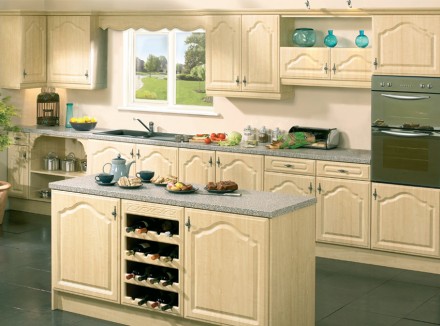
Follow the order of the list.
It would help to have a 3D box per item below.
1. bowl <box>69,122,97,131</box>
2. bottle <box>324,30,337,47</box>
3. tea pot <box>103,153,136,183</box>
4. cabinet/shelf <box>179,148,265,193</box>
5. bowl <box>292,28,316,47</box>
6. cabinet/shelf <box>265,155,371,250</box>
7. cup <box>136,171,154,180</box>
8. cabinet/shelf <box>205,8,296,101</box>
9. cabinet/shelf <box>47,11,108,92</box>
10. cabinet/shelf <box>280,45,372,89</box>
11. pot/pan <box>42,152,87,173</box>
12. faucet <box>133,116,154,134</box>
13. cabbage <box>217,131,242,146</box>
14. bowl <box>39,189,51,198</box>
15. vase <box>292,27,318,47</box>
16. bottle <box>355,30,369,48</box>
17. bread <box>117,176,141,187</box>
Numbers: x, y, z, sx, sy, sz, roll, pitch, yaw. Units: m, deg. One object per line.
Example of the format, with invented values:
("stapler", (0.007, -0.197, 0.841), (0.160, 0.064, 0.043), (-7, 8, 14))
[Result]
("bowl", (-2.158, -0.587, 6.495), (0.380, 0.132, 0.241), (-3, 8, -24))
("bottle", (1.382, -1.552, 5.113), (0.166, 0.259, 0.384), (3, 8, 15))
("tea pot", (-0.898, 0.041, 3.623), (0.280, 0.232, 0.174), (1, 7, -8))
("cabinet/shelf", (0.029, 0.178, 5.562), (1.274, 0.759, 0.409), (2, -5, -16))
("bowl", (1.066, -1.583, 5.248), (0.268, 0.169, 0.252), (0, 2, 0))
("cabinet/shelf", (1.097, 0.407, 4.207), (1.184, 0.827, 0.452), (3, 4, 27))
("cup", (-0.640, 0.106, 3.634), (0.142, 0.064, 0.104), (1, 7, 8))
("cabinet/shelf", (0.194, -1.440, 5.586), (1.213, 1.042, 0.461), (-8, 13, -31))
("cabinet/shelf", (-2.313, -1.780, 6.570), (0.956, 1.152, 0.327), (2, 7, 10))
("cabinet/shelf", (1.330, -1.168, 5.110), (1.249, 0.466, 0.367), (0, 0, -6))
("pot/pan", (-2.480, 0.002, 6.552), (0.412, 0.165, 0.413), (5, 5, 36))
("faucet", (-1.180, -0.591, 6.395), (0.313, 0.234, 0.480), (-1, 8, -12))
("cabbage", (0.153, -0.331, 5.555), (0.267, 0.123, 0.199), (-4, 2, -11))
("bowl", (-2.786, 0.485, 6.589), (0.129, 0.048, 0.171), (-4, 10, -3))
("vase", (1.083, -1.588, 5.160), (0.267, 0.171, 0.258), (-1, 4, -10))
("bottle", (1.720, -1.501, 4.945), (0.162, 0.256, 0.341), (3, 8, 18))
("bread", (-0.734, 0.156, 3.373), (0.111, 0.041, 0.109), (-3, 7, -36))
